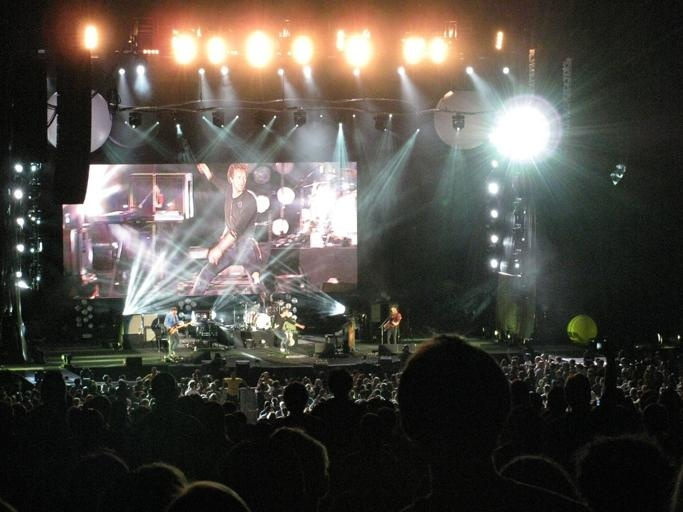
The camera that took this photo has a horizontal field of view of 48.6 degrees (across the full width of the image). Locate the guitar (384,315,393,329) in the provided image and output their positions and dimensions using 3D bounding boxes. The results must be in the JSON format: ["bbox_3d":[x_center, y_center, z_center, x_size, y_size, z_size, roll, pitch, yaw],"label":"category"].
[{"bbox_3d":[1.322,1.826,21.237,0.162,0.168,0.655,-25,-14,-15],"label":"guitar"}]
